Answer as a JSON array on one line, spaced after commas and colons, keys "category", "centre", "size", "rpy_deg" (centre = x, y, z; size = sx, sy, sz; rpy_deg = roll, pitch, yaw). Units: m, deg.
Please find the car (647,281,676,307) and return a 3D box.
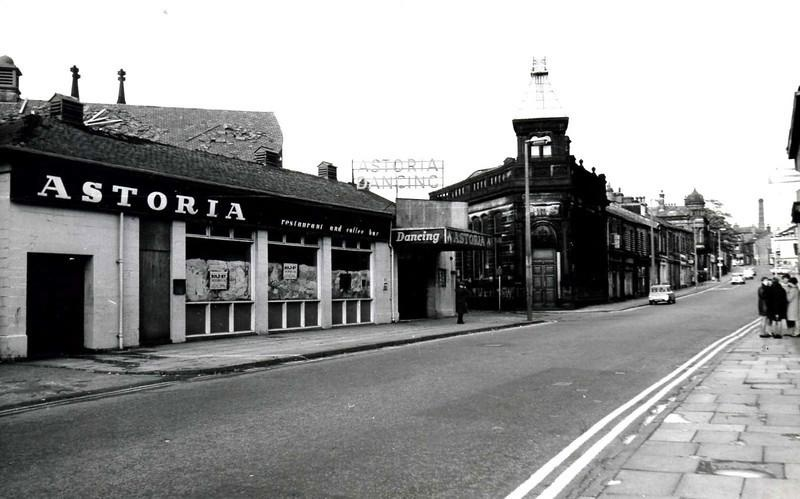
[{"category": "car", "centre": [17.110, 2.878, 54.098], "size": [1.115, 0.913, 2.033], "rpy_deg": [-1, 1, 29]}]
